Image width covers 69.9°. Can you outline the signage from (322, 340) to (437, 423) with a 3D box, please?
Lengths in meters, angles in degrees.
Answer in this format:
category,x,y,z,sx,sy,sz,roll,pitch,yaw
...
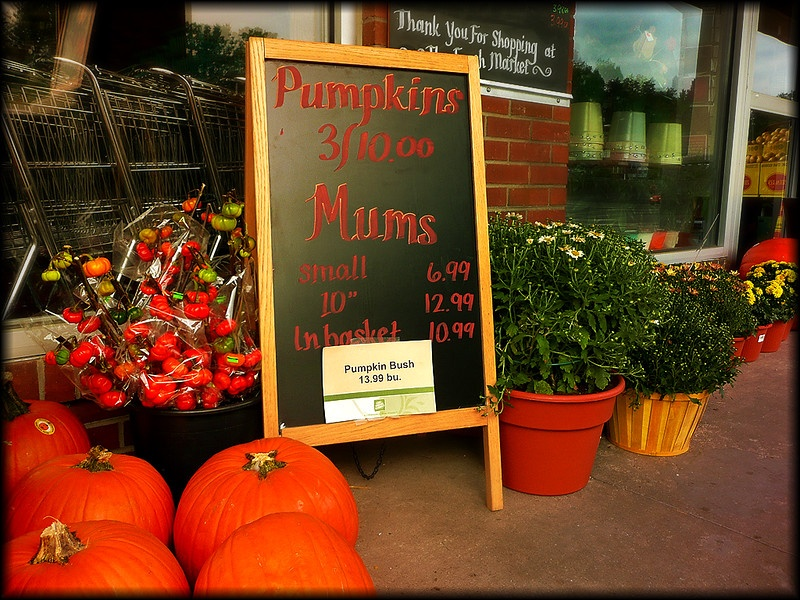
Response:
category,x,y,z,sx,sy,sz,roll,pitch,yaw
signage,-0.106,0.355,2.429,0.320,0.244,0.018,-3,-3,-15

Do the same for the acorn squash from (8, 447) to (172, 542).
category,x,y,z,sx,sy,sz,roll,pitch,yaw
acorn squash,-1.052,0.617,2.005,0.374,0.383,0.383,10,4,-15
